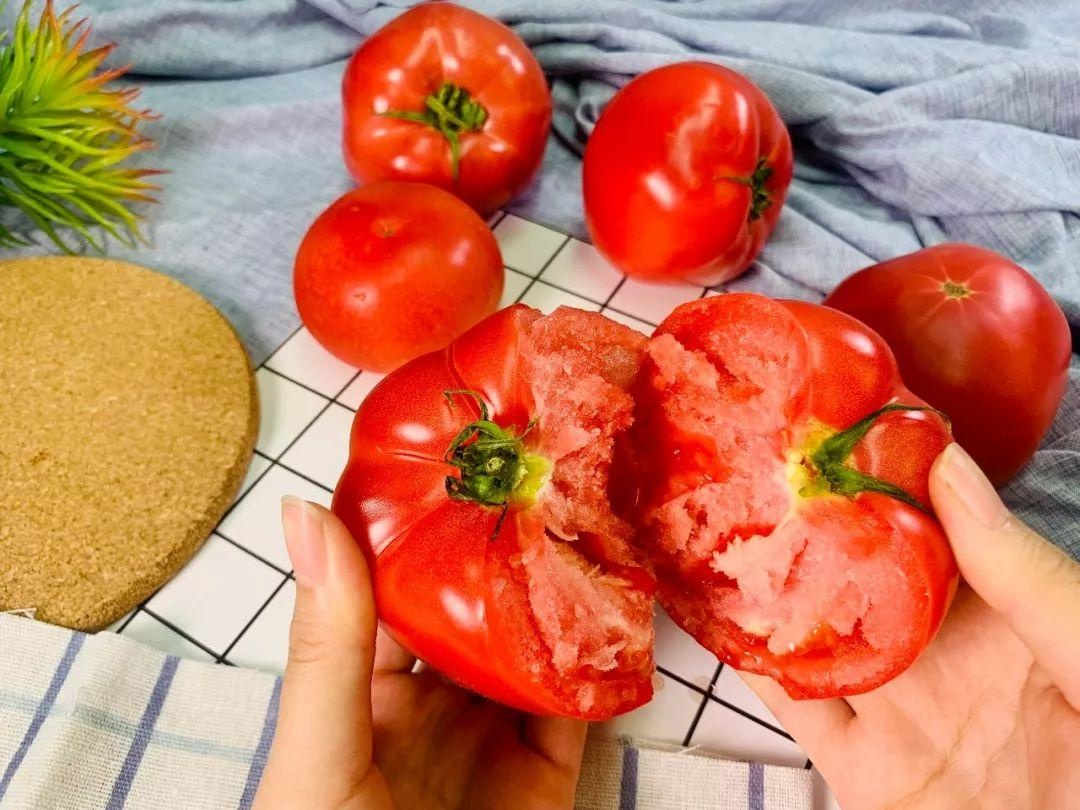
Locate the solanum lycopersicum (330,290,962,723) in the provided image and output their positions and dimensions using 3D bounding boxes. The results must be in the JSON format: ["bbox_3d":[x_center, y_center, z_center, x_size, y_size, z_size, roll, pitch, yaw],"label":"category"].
[{"bbox_3d":[0.082,0.081,0.792,0.556,0.171,0.361,0,65,2],"label":"solanum lycopersicum"}]

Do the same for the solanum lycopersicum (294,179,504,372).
[{"bbox_3d":[-0.168,-0.143,1.038,0.233,0.142,0.220,-2,79,1],"label":"solanum lycopersicum"}]

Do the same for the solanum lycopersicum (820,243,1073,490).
[{"bbox_3d":[0.411,-0.045,1.047,0.223,0.280,0.251,-11,52,11],"label":"solanum lycopersicum"}]
